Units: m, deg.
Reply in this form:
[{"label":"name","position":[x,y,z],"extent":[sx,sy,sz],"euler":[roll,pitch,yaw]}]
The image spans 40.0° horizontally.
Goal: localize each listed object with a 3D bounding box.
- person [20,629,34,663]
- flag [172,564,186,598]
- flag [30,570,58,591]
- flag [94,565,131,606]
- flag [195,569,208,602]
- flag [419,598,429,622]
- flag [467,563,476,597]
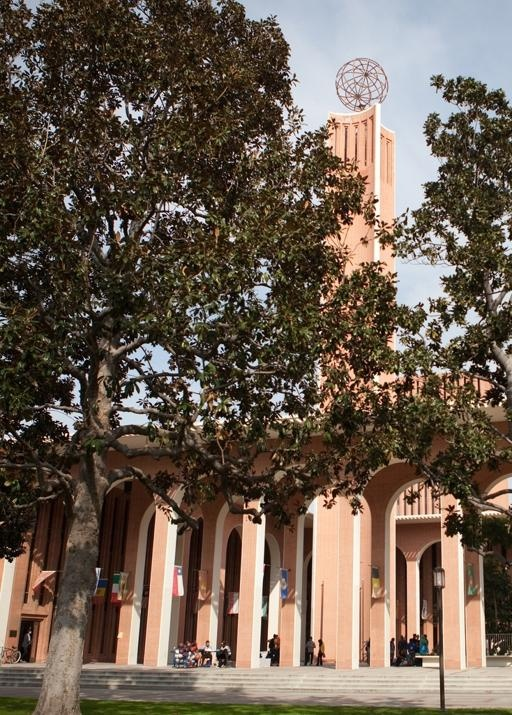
[{"label":"person","position":[-8.848,11.116,27.353],"extent":[0.417,1.184,1.118],"euler":[7,-22,-14]},{"label":"flag","position":[-2.753,7.916,25.138],"extent":[0.375,0.999,0.773],"euler":[3,-21,-3]},{"label":"flag","position":[-8.357,8.856,28.072],"extent":[0.372,0.836,1.127],"euler":[-4,-22,13]},{"label":"flag","position":[-5.930,9.402,29.126],"extent":[1.298,1.591,5.751],"euler":[6,-22,-12]},{"label":"flag","position":[-1.931,8.421,26.184],"extent":[0.344,0.958,0.964],"euler":[3,-21,-3]},{"label":"flag","position":[9.291,13.948,38.972],"extent":[0.386,1.118,2.193],"euler":[-4,-22,14]},{"label":"flag","position":[6.867,7.139,22.574],"extent":[0.341,1.014,0.216],"euler":[5,-21,-10]}]
